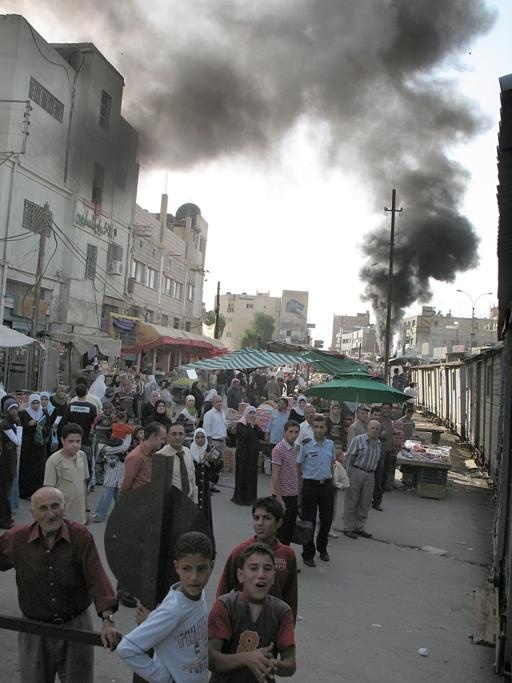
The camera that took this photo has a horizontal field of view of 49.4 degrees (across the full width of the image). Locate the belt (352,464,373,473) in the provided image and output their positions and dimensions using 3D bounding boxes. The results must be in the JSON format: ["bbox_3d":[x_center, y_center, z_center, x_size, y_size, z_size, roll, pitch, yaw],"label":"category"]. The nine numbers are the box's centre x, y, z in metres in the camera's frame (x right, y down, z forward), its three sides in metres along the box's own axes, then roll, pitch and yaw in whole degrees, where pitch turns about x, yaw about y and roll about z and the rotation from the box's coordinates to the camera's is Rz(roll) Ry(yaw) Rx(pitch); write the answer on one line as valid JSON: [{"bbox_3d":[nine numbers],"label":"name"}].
[{"bbox_3d":[1.653,1.981,8.617,0.309,0.091,0.100,3,-5,12],"label":"belt"}]

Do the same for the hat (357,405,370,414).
[{"bbox_3d":[2.025,1.289,10.478,0.161,0.189,0.202,1,-12,-1],"label":"hat"}]

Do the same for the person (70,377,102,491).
[{"bbox_3d":[-3.018,1.631,9.624,0.591,1.757,0.491,5,3,-11],"label":"person"}]

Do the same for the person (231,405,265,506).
[{"bbox_3d":[-0.166,2.102,10.356,0.465,1.767,0.949,5,-5,-1],"label":"person"}]

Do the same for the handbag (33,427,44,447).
[{"bbox_3d":[-3.466,1.516,8.922,0.123,0.332,0.268,5,-5,-5],"label":"handbag"}]

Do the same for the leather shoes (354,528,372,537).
[{"bbox_3d":[1.650,2.968,8.566,0.278,0.118,0.103,16,10,8],"label":"leather shoes"}]

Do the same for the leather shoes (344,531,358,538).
[{"bbox_3d":[1.462,2.962,8.542,0.070,0.082,0.192,0,-2,-35],"label":"leather shoes"}]

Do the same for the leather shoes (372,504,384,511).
[{"bbox_3d":[2.318,3.150,10.548,0.197,0.136,0.073,-1,4,36],"label":"leather shoes"}]

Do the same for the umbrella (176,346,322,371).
[{"bbox_3d":[0.135,0.554,15.960,3.938,0.694,1.455,9,-7,-43],"label":"umbrella"}]

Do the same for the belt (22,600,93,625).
[{"bbox_3d":[-1.009,1.379,2.850,0.203,0.056,0.209,2,-3,-1],"label":"belt"}]

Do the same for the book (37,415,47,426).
[{"bbox_3d":[-3.414,1.259,8.889,0.017,0.164,0.127,14,36,6],"label":"book"}]

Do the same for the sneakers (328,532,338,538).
[{"bbox_3d":[1.189,2.992,8.602,0.068,0.081,0.201,0,-8,-10],"label":"sneakers"}]

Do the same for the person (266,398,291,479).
[{"bbox_3d":[0.479,1.938,11.570,0.532,1.610,0.329,6,19,4],"label":"person"}]

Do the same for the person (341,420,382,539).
[{"bbox_3d":[1.664,2.131,8.684,0.554,1.803,0.531,5,-5,-11],"label":"person"}]

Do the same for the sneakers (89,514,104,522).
[{"bbox_3d":[-2.270,2.548,8.004,0.096,0.089,0.210,3,-13,-6],"label":"sneakers"}]

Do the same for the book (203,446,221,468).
[{"bbox_3d":[-0.565,1.552,7.440,0.232,0.269,0.155,5,-5,-6],"label":"book"}]
